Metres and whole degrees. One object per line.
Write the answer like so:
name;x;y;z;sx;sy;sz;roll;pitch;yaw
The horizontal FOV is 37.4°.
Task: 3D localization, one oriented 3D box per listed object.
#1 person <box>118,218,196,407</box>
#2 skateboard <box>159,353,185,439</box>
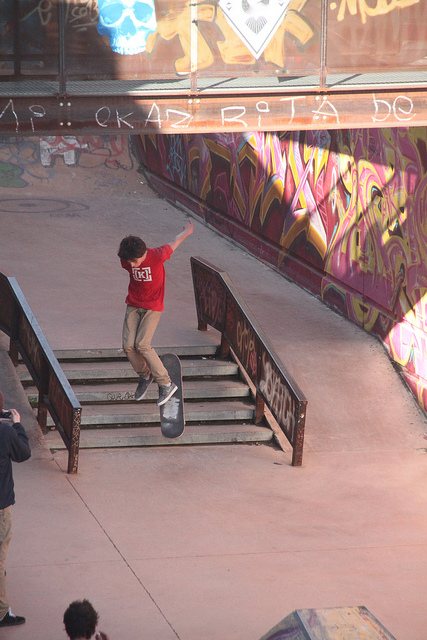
person;-0.587;-0.014;5.951;0.608;1.862;0.947;6;7;7
skateboard;-0.404;0.781;6.645;0.278;0.855;0.136;-9;-9;22
